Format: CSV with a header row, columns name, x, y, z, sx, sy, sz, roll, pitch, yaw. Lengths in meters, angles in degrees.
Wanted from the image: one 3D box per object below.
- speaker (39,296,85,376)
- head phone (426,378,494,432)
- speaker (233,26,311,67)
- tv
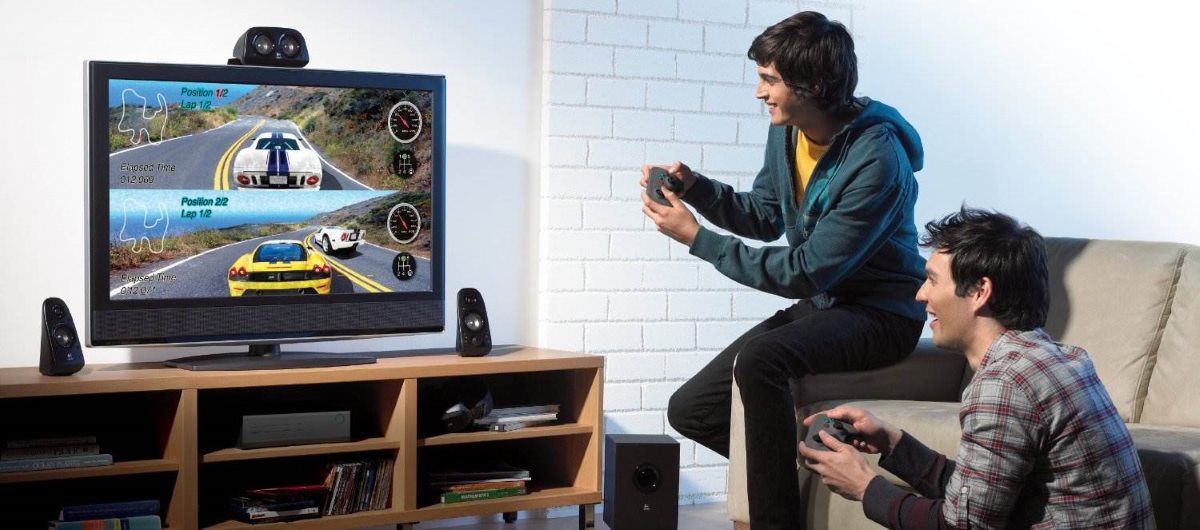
name,x,y,z,sx,sy,sz,roll,pitch,yaw
speaker,-2.790,0.363,4.212,0.178,0.366,0.240,-4,12,-32
head phone,-0.807,0.773,4.669,0.380,0.156,0.256,-19,29,3
speaker,-1.892,-1.175,4.562,0.429,0.186,0.400,0,8,31
tv,-1.896,-0.281,4.440,2.141,1.422,0.520,0,-1,-16
